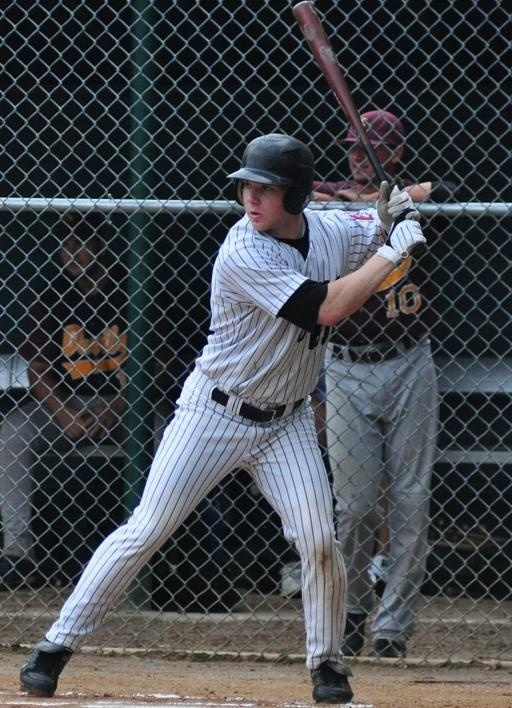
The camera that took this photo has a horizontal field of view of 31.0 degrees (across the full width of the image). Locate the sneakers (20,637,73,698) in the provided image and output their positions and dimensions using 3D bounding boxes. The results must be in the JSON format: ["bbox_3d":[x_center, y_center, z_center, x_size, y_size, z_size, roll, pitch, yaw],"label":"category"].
[{"bbox_3d":[-0.528,0.769,2.277,0.145,0.116,0.086,18,-20,-39],"label":"sneakers"}]

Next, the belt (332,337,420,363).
[{"bbox_3d":[0.380,-0.001,3.059,0.139,0.033,0.127,-10,1,-27],"label":"belt"}]

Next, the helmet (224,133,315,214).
[{"bbox_3d":[0.039,-0.437,2.246,0.190,0.188,0.167,4,13,-1],"label":"helmet"}]

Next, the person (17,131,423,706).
[{"bbox_3d":[-0.046,0.155,2.317,0.789,1.374,0.595,6,14,7],"label":"person"}]

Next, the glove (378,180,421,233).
[{"bbox_3d":[0.332,-0.364,2.295,0.055,0.103,0.089,-15,53,-26],"label":"glove"}]

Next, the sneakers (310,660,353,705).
[{"bbox_3d":[0.179,0.808,2.263,0.143,0.106,0.077,2,-13,0],"label":"sneakers"}]
